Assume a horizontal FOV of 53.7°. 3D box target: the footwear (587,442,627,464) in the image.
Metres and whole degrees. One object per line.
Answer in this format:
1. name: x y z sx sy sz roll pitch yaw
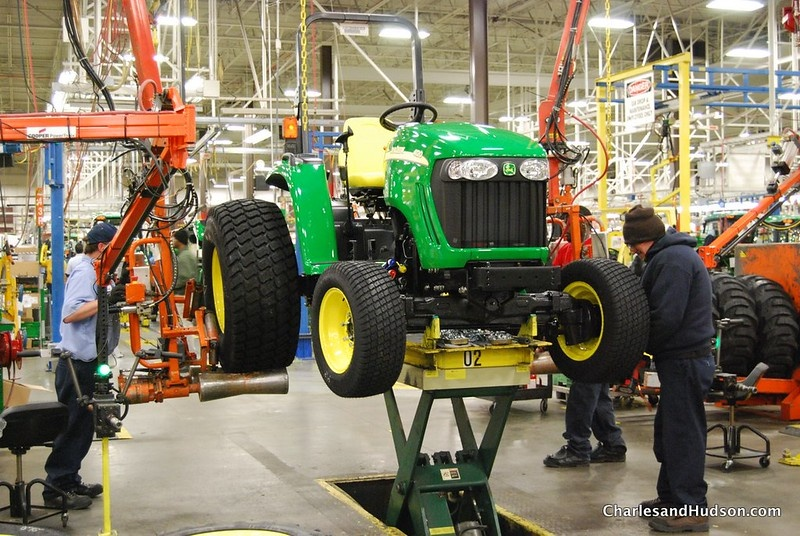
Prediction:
1. footwear: 2.288 2.099 8.873 0.421 0.207 0.177 2 -5 2

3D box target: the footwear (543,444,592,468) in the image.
1. footwear: 1.809 2.078 8.647 0.522 0.252 0.208 2 -6 -5

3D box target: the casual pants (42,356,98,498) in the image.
1. casual pants: -3.252 1.633 7.719 0.495 1.423 0.596 -2 5 1

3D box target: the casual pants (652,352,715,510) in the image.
1. casual pants: 2.569 1.496 7.189 0.478 1.355 0.338 0 6 19

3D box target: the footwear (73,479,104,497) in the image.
1. footwear: -3.110 2.228 7.977 0.360 0.165 0.122 -2 3 -17

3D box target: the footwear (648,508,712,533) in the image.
1. footwear: 2.534 2.288 7.142 0.448 0.190 0.223 3 -6 1

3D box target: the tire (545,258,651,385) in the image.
1. tire: 1.751 0.477 7.123 0.420 1.094 0.969 -5 -19 -28

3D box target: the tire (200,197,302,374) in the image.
1. tire: -1.544 0.182 8.013 0.639 1.841 1.835 -4 14 -21

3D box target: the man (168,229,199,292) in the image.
1. man: -3.221 -0.052 11.825 0.341 1.055 1.242 -3 6 -16

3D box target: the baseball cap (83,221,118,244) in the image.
1. baseball cap: -3.155 -0.360 8.332 0.306 0.169 0.218 7 8 0

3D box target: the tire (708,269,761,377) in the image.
1. tire: 4.441 0.761 10.506 0.535 1.317 1.321 0 14 20

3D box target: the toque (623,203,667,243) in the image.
1. toque: 2.239 -0.391 7.374 0.393 0.367 0.293 -2 1 -6

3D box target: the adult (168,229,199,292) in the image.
1. adult: -3.223 -0.053 11.834 0.342 1.055 1.225 -3 6 -16

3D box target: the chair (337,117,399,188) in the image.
1. chair: -0.348 -1.154 7.839 0.642 0.841 0.688 1 -9 -11

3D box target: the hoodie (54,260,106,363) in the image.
1. hoodie: -3.259 0.430 8.064 0.364 1.016 0.739 8 -6 -10

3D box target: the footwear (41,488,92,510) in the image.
1. footwear: -3.254 2.283 7.685 0.538 0.254 0.199 1 -1 -5

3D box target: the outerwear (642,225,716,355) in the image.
1. outerwear: 2.607 0.288 7.735 0.883 1.421 1.402 1 3 20

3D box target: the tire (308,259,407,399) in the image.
1. tire: -0.411 0.551 6.948 0.416 1.192 1.183 -2 4 -28
